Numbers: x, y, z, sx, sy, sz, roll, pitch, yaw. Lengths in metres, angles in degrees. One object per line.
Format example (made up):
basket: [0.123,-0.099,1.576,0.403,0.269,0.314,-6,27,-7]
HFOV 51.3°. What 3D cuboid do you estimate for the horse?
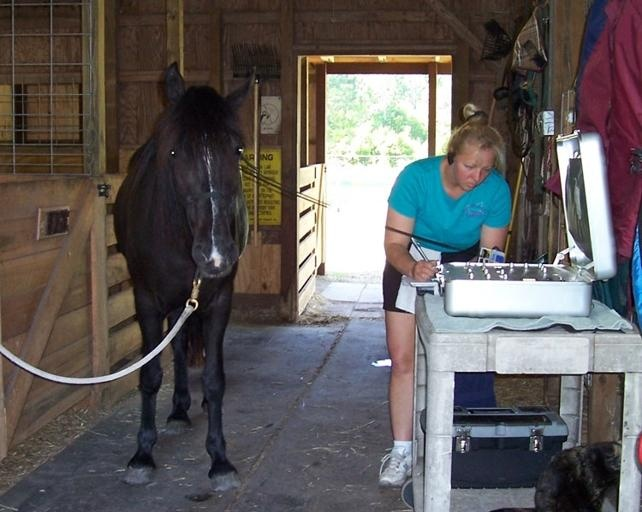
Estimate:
horse: [-0.701,0.069,3.516,0.671,2.083,1.368,-2,8,-16]

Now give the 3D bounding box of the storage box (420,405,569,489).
storage box: [0.729,0.808,2.796,0.480,0.291,0.392,0,1,2]

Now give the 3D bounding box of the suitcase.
suitcase: [0.678,-0.150,2.556,0.606,0.720,0.631,1,1,2]

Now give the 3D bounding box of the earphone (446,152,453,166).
earphone: [0.584,-0.453,3.062,0.038,0.078,0.045,0,6,9]

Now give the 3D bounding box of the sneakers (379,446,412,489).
sneakers: [0.380,1.072,3.395,0.096,0.136,0.279,-2,-1,17]
